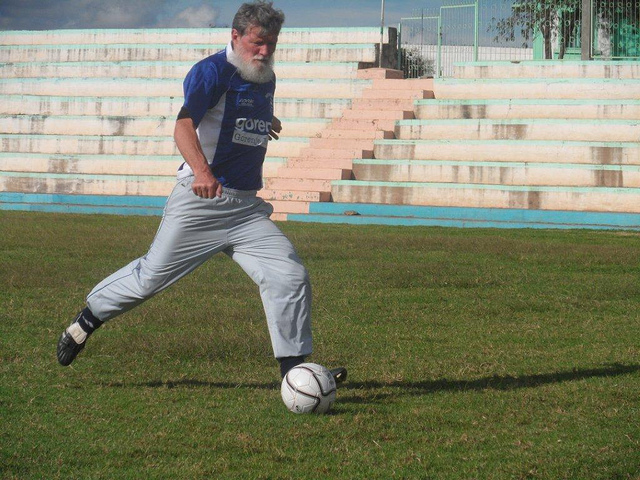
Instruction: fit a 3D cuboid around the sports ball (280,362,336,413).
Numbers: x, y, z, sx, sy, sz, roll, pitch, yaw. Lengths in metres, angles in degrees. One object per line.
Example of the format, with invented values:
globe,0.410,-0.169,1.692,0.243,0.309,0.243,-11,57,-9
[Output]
sports ball,-0.125,1.545,11.433,0.502,0.483,0.504,5,-3,0
